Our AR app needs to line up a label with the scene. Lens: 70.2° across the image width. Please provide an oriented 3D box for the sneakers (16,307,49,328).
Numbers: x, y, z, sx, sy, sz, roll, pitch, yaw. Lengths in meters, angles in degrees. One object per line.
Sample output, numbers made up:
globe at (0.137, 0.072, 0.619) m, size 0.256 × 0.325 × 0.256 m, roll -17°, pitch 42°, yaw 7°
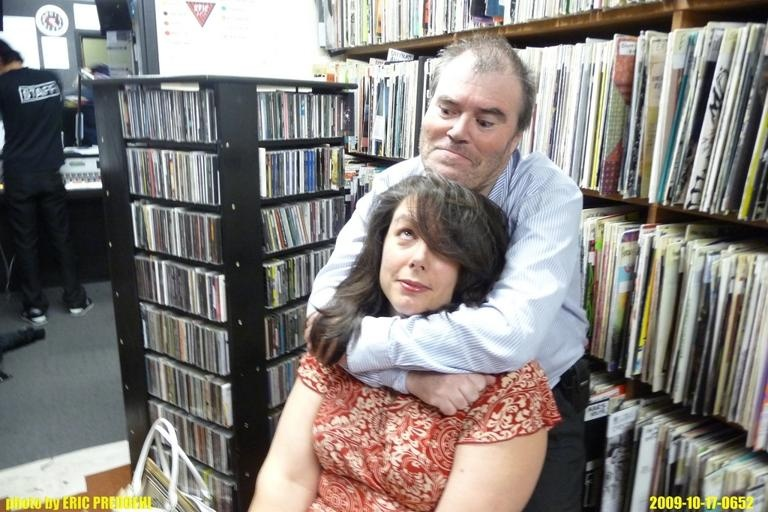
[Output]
sneakers at (-2.869, 0.487, 4.484) m, size 0.281 × 0.111 × 0.118 m, roll 6°, pitch 9°, yaw 38°
